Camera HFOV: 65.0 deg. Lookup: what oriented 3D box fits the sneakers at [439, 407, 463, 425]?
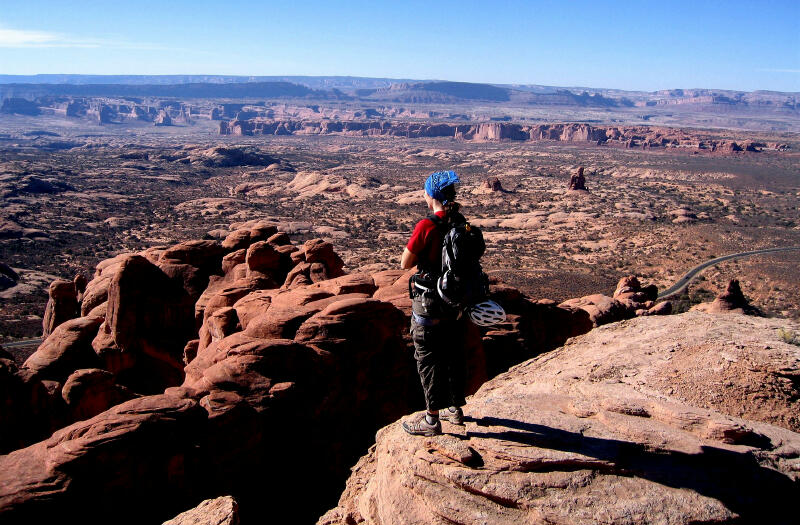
[{"bbox_3d":[1.007,2.941,12.024,0.515,0.212,0.223,9,10,36],"label":"sneakers"}]
